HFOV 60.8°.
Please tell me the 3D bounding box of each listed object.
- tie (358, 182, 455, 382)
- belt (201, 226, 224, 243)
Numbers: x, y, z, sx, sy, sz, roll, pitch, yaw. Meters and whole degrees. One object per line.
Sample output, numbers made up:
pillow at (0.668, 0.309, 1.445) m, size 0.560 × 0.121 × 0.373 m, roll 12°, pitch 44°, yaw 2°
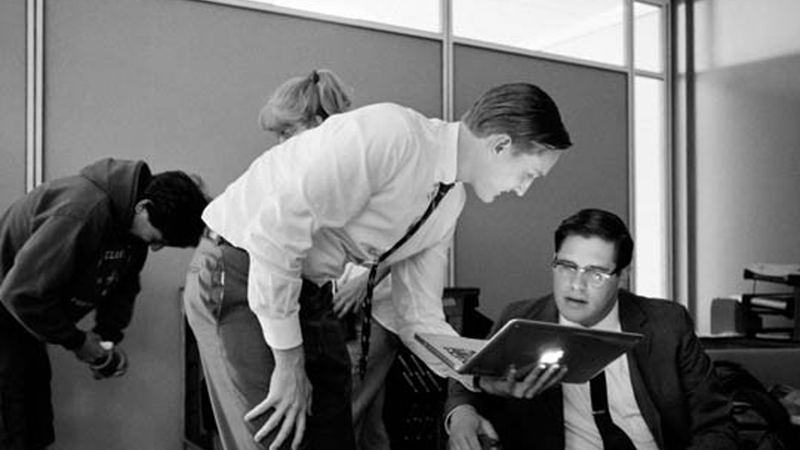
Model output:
tie at (0.018, 0.294, 3.654) m, size 0.181 × 1.369 × 0.192 m, roll 24°, pitch 20°, yaw -2°
belt at (-1.077, 0.053, 3.917) m, size 0.076 × 0.036 × 0.102 m, roll 25°, pitch -14°, yaw 33°
